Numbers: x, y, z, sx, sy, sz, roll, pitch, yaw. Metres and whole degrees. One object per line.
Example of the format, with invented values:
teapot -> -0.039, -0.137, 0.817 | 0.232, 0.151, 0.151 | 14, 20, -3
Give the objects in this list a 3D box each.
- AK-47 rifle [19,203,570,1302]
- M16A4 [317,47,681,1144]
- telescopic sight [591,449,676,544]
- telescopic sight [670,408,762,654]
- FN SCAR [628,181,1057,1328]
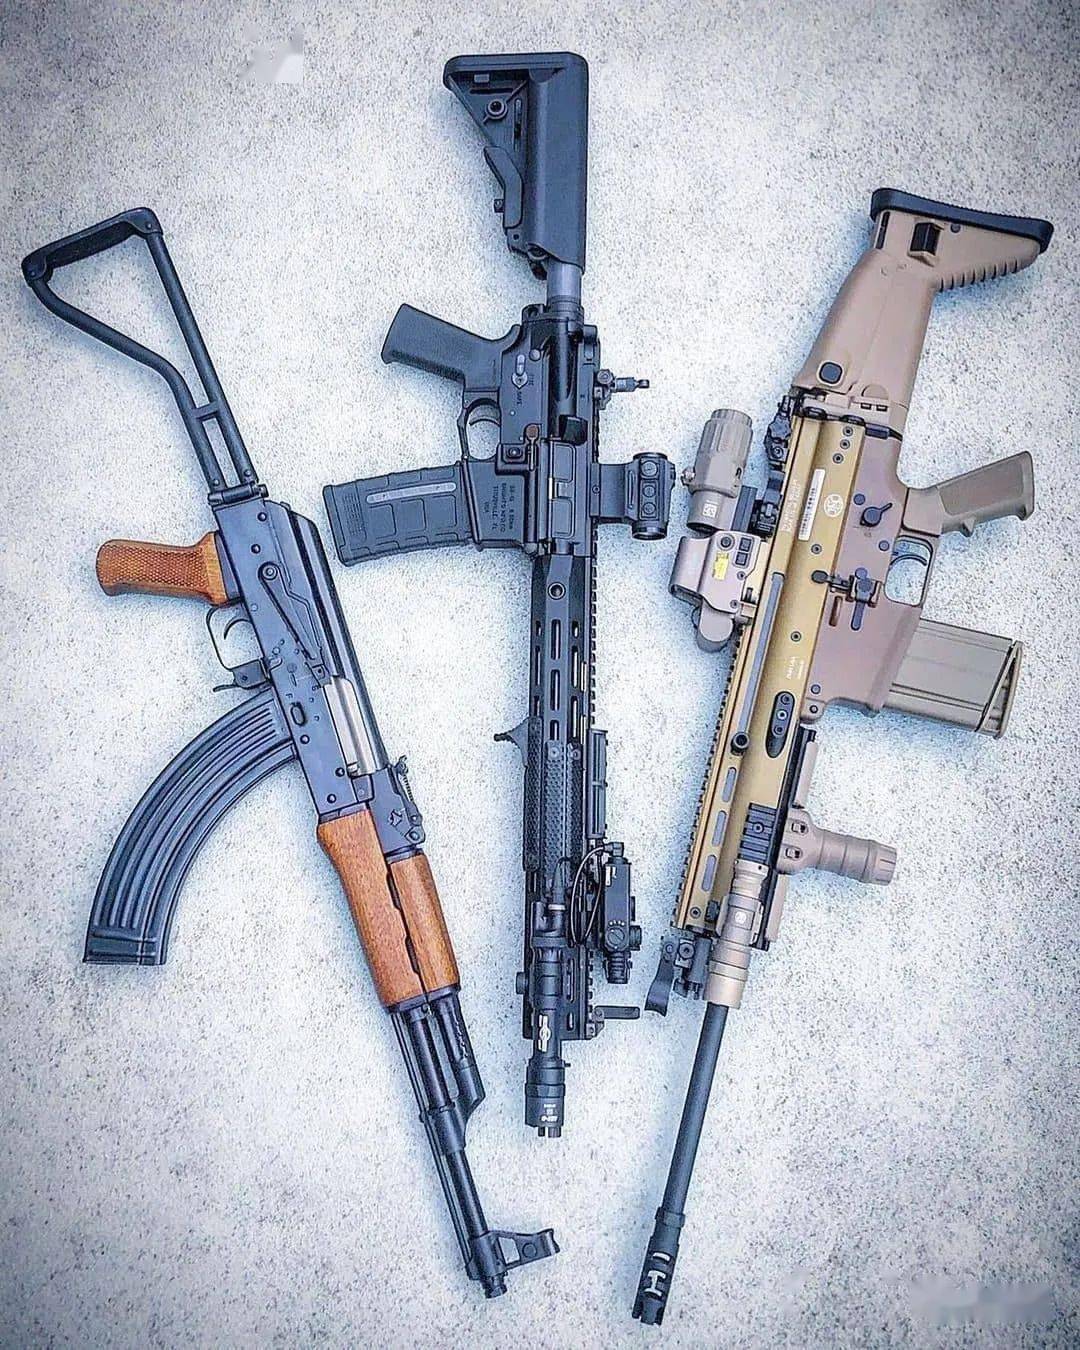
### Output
AK-47 rifle -> -0.756, 0.221, 3.725 | 0.590, 2.661, 0.702 | -23, -5, 40
M16A4 -> -0.002, -0.374, 4.162 | 1.128, 3.279, 0.558 | 5, 0, 6
telescopic sight -> 0.215, -0.426, 3.779 | 0.184, 0.197, 0.166 | 10, 11, 10
telescopic sight -> 0.412, -0.332, 3.823 | 0.194, 0.551, 0.159 | 10, 5, 7
FN SCAR -> 0.617, 0.051, 4.048 | 0.813, 2.773, 0.544 | 11, -2, -9
